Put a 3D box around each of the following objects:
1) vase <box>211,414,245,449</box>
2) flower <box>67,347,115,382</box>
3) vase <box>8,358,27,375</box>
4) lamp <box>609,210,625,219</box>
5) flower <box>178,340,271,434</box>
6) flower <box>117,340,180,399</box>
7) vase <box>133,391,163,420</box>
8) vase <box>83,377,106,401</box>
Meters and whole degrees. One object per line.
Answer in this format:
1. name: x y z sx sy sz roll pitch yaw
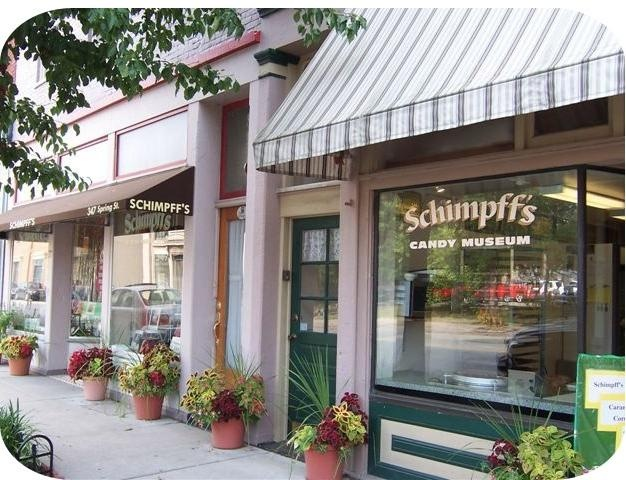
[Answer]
1. vase: -1.092 2.451 6.487 0.480 0.403 0.470 -7 -13 21
2. flower: -3.894 2.203 8.967 0.657 0.532 0.708 2 -10 2
3. vase: -6.403 2.760 10.946 0.322 0.272 0.371 0 -13 -6
4. lamp: 2.658 -0.212 4.410 0.122 0.084 0.047 2 -6 -1
5. flower: -1.111 2.055 6.641 1.011 0.728 1.073 -3 -9 14
6. flower: -2.534 2.010 7.951 0.908 0.698 0.947 -5 -7 -2
7. vase: -2.504 2.514 7.705 0.389 0.334 0.416 -1 -11 4
8. vase: -3.810 2.556 8.797 0.378 0.320 0.406 0 -10 -3
